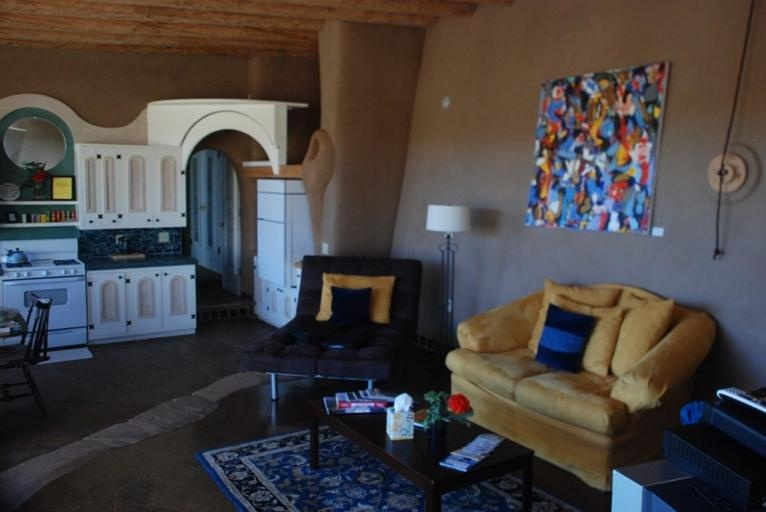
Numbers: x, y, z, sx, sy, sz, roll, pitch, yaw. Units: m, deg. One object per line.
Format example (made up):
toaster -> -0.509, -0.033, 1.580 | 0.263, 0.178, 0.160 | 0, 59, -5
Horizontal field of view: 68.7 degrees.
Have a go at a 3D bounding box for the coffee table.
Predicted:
coffee table -> 0.263, 1.516, 4.292 | 1.543, 0.599, 0.856 | 13, 18, 43

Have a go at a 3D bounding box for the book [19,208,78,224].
book -> -4.294, -0.500, 7.256 | 0.679, 0.192, 0.221 | 2, -1, -20

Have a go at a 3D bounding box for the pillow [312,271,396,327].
pillow -> -0.220, 0.439, 6.184 | 0.746, 0.570, 0.218 | -1, -17, 5

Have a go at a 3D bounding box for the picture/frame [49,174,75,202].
picture/frame -> -4.191, -0.883, 7.355 | 0.279, 0.298, 0.122 | -6, 15, -30

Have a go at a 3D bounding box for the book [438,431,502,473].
book -> 0.640, 1.383, 3.956 | 0.571, 0.040, 0.218 | -11, 18, -44

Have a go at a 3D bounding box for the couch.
couch -> 1.727, 1.002, 4.994 | 1.653, 1.435, 2.095 | 0, 4, -33

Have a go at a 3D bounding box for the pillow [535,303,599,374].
pillow -> 1.670, 0.772, 5.131 | 0.166, 0.509, 0.542 | 22, -5, -42

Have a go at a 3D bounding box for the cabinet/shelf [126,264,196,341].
cabinet/shelf -> -2.969, 0.606, 7.401 | 1.014, 0.994, 0.536 | -1, 0, -33

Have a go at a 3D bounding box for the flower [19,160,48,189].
flower -> -4.459, -1.040, 7.225 | 0.271, 0.331, 0.170 | -7, 16, -32

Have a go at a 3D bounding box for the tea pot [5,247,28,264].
tea pot -> -4.585, 0.007, 7.012 | 0.227, 0.135, 0.222 | 2, 2, 0

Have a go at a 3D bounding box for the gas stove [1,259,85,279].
gas stove -> -4.180, 0.170, 6.947 | 0.855, 0.130, 0.527 | -6, 15, -29

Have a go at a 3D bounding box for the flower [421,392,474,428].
flower -> 0.469, 1.117, 4.202 | 0.331, 0.299, 0.331 | 1, 2, 12

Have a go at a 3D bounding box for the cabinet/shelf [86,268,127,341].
cabinet/shelf -> -3.655, 0.664, 7.296 | 0.572, 0.877, 0.556 | 1, 2, 28

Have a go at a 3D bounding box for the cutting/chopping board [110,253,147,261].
cutting/chopping board -> -3.390, 0.020, 7.475 | 0.409, 0.037, 0.529 | -5, 14, -26

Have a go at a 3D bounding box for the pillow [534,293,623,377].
pillow -> 1.860, 0.764, 5.022 | 0.747, 0.691, 0.233 | 15, -11, 36

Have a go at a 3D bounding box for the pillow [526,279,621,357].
pillow -> 1.875, 0.627, 5.152 | 0.744, 0.689, 0.231 | 9, -10, 44

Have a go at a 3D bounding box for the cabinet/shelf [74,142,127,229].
cabinet/shelf -> -3.610, -0.890, 7.443 | 0.665, 1.084, 0.663 | 2, 5, 14

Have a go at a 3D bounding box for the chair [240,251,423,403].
chair -> -0.436, 0.755, 6.172 | 1.520, 1.246, 2.016 | 1, 7, 10

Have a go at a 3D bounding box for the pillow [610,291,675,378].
pillow -> 2.289, 0.743, 4.859 | 0.217, 0.642, 0.680 | 24, -23, -9

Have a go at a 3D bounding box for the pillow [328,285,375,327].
pillow -> -0.351, 0.578, 6.232 | 0.420, 0.384, 0.150 | 0, -24, 3
